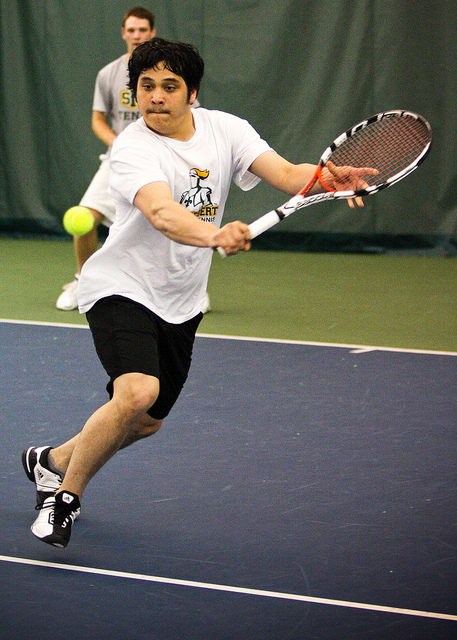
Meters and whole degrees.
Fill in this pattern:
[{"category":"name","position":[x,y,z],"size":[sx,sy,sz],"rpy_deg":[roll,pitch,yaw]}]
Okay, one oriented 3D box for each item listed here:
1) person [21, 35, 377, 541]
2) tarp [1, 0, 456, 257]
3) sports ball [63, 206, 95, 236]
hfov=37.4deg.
[{"category":"person","position":[-0.104,-0.096,2.516],"size":[1.551,1.562,1.002],"rpy_deg":[-6,-2,42]},{"category":"tarp","position":[0.229,-1.621,5.273],"size":[3.674,1.927,0.064],"rpy_deg":[1,6,9]},{"category":"sports ball","position":[-1.005,-0.647,4.452],"size":[0.191,0.176,0.183],"rpy_deg":[0,7,0]}]
